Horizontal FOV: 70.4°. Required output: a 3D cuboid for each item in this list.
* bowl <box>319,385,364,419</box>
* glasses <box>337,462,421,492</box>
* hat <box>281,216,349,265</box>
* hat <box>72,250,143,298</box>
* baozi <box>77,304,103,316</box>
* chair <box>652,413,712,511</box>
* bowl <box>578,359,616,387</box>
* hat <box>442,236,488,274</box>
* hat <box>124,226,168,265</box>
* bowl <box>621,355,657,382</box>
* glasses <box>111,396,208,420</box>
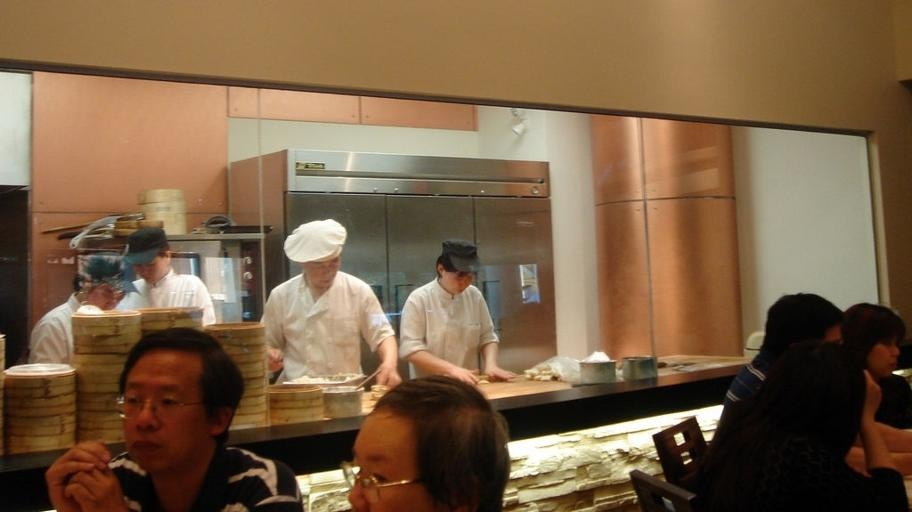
[{"bbox_3d":[-0.606,0.726,3.184,0.250,0.142,0.245,-2,-11,0],"label":"bowl"},{"bbox_3d":[-0.257,0.685,2.057,0.165,0.044,0.155,3,-5,-18],"label":"glasses"},{"bbox_3d":[-0.694,-0.077,3.192,0.311,0.207,0.055,-4,2,-42],"label":"hat"},{"bbox_3d":[-1.519,0.077,2.832,0.231,0.167,0.163,14,1,-4],"label":"hat"},{"bbox_3d":[-1.567,0.230,2.775,0.102,0.036,0.045,-2,2,7],"label":"baozi"},{"bbox_3d":[1.078,0.970,3.132,0.241,0.276,0.198,-9,-24,-2],"label":"chair"},{"bbox_3d":[0.801,0.659,3.650,0.159,0.083,0.149,0,0,0],"label":"bowl"},{"bbox_3d":[0.060,0.005,3.424,0.162,0.097,0.200,7,4,-25],"label":"hat"},{"bbox_3d":[-1.374,-0.041,2.878,0.136,0.087,0.176,0,13,18],"label":"hat"},{"bbox_3d":[1.066,0.648,3.749,0.157,0.086,0.148,-2,0,0],"label":"bowl"},{"bbox_3d":[-1.087,0.542,2.322,0.159,0.041,0.163,-3,-7,30],"label":"glasses"}]
